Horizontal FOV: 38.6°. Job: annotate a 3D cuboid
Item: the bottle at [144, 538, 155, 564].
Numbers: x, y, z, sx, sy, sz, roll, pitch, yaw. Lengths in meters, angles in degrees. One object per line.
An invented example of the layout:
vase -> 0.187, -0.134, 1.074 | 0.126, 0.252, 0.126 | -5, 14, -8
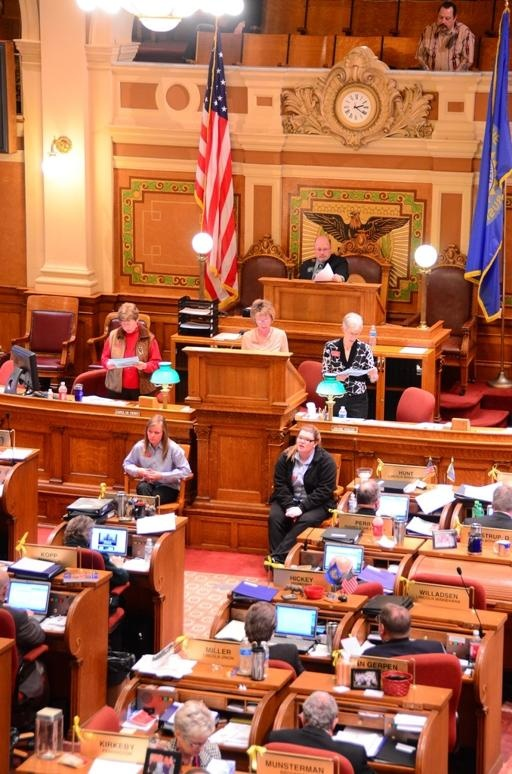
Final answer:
bottle -> -0.723, 1.084, 4.892 | 0.073, 0.150, 0.159 | -1, 2, -9

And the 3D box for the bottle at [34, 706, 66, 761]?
bottle -> -0.787, 1.323, 2.766 | 0.098, 0.171, 0.184 | -1, 2, -17

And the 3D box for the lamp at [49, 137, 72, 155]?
lamp -> -2.876, -3.524, 10.693 | 0.223, 0.264, 0.291 | -2, -5, 26

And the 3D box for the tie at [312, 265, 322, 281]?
tie -> 0.735, -1.399, 8.893 | 0.072, 0.211, 0.147 | 7, 6, 16

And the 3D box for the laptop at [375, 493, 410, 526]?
laptop -> 1.004, 0.885, 5.323 | 0.235, 0.196, 0.206 | 6, -6, 14

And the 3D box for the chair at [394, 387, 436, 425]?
chair -> 1.559, 0.170, 7.067 | 0.306, 0.320, 0.514 | -2, 2, -22

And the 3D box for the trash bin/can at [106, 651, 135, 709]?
trash bin/can -> -0.834, 1.761, 4.467 | 0.164, 0.258, 0.374 | -1, 2, -10

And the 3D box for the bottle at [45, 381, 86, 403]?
bottle -> -1.868, 0.028, 7.337 | 0.380, 0.091, 0.262 | 0, 10, 15

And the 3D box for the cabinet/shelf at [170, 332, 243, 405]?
cabinet/shelf -> -0.491, -0.206, 7.285 | 0.763, 0.741, 0.277 | 2, 10, 13

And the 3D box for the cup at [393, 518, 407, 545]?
cup -> 0.963, 0.964, 4.914 | 0.079, 0.158, 0.150 | 0, 2, 8

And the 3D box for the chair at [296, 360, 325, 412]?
chair -> 0.577, -0.055, 7.650 | 0.347, 0.494, 0.411 | -1, 6, 0

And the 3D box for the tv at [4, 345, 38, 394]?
tv -> -2.430, -0.168, 7.488 | 0.245, 0.489, 0.469 | -20, 33, -36

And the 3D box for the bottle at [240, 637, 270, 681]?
bottle -> -0.018, 1.125, 3.072 | 0.153, 0.212, 0.130 | 0, 0, -4

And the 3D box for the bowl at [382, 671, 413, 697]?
bowl -> 0.561, 1.178, 2.911 | 0.113, 0.071, 0.123 | -1, 2, 0

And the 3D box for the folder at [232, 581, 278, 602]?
folder -> -0.010, 1.166, 4.166 | 0.129, 0.036, 0.132 | 8, 4, 16

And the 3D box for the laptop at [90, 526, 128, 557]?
laptop -> -0.931, 0.959, 4.685 | 0.239, 0.182, 0.220 | 5, 4, 1

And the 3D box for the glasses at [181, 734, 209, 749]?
glasses -> -0.203, 1.139, 2.358 | 0.060, 0.040, 0.079 | 0, -8, -18

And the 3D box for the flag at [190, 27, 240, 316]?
flag -> -0.556, -2.949, 10.004 | 0.411, 3.519, 0.591 | 0, 3, 22

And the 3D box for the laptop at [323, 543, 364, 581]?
laptop -> 0.496, 1.025, 4.343 | 0.238, 0.181, 0.218 | 11, 14, 21

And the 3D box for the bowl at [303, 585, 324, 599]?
bowl -> 0.327, 1.163, 4.155 | 0.113, 0.055, 0.205 | -1, 2, 2

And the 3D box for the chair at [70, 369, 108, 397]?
chair -> -1.868, -0.063, 8.141 | 0.279, 0.363, 0.312 | 2, 6, 24

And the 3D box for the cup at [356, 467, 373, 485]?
cup -> 0.894, 0.715, 6.041 | 0.158, 0.184, 0.166 | 0, 6, 0

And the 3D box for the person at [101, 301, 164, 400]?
person -> -1.311, -0.371, 7.637 | 0.596, 1.010, 0.701 | -1, 3, -10

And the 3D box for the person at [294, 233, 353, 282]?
person -> 0.799, -1.505, 9.016 | 0.580, 0.670, 0.785 | 0, 3, -12

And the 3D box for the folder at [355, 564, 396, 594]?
folder -> 0.742, 1.165, 4.495 | 0.161, 0.056, 0.165 | 15, 7, -11

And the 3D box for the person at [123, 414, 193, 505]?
person -> -0.845, 0.742, 6.030 | 0.534, 0.949, 0.519 | 4, 1, -1
